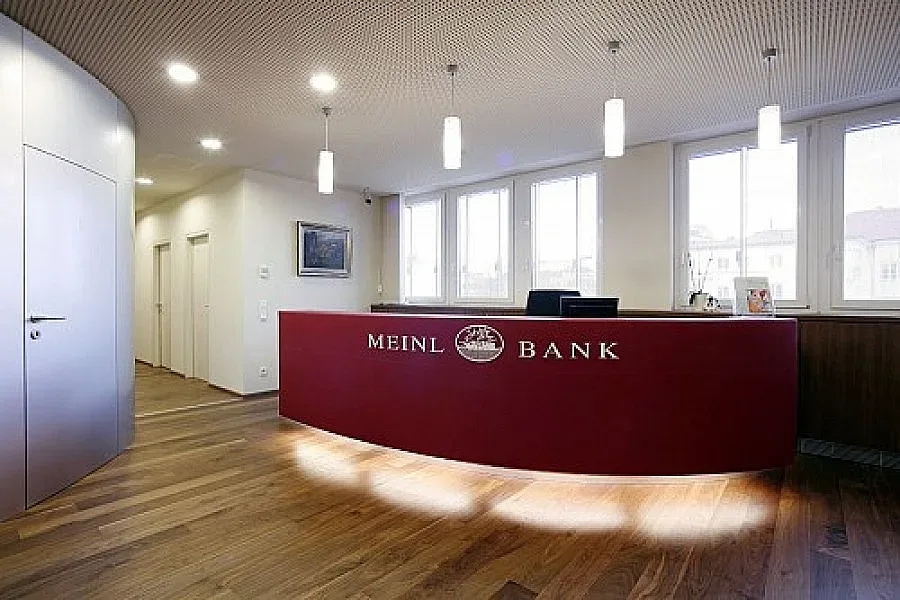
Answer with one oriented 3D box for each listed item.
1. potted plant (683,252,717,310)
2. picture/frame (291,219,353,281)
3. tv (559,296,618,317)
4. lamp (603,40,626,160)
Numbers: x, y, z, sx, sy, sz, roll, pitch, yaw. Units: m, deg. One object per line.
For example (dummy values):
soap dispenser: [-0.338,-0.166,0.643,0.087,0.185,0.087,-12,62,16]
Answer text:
potted plant: [2.923,-0.211,6.267,0.341,0.691,0.692,0,1,24]
picture/frame: [-1.984,-0.754,8.343,0.987,0.829,0.073,5,-7,-44]
tv: [1.256,0.072,4.900,0.498,0.181,0.122,-1,1,7]
lamp: [1.522,-1.778,5.012,0.141,0.974,0.620,0,1,20]
